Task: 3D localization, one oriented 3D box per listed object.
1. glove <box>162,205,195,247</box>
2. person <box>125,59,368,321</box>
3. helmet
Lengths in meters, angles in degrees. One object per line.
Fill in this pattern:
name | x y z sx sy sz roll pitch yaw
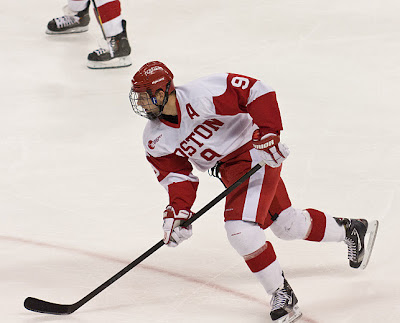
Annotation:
glove | -0.163 0.439 3.721 0.258 0.253 0.128 1 10 8
person | 0.297 0.155 3.711 1.529 1.700 0.822 1 17 10
helmet | -0.313 -0.479 3.603 0.181 0.381 0.244 12 21 40
